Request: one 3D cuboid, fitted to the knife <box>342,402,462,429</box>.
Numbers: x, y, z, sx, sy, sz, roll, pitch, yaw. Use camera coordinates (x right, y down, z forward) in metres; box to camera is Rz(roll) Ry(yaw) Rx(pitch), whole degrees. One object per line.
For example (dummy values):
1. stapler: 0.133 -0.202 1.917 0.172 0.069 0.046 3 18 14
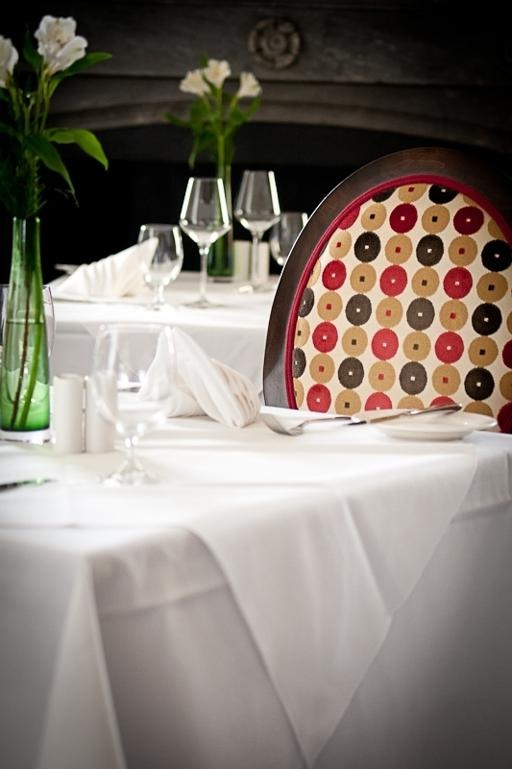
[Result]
1. knife: 0.212 0.042 0.852 0.164 0.024 0.019 0 41 -31
